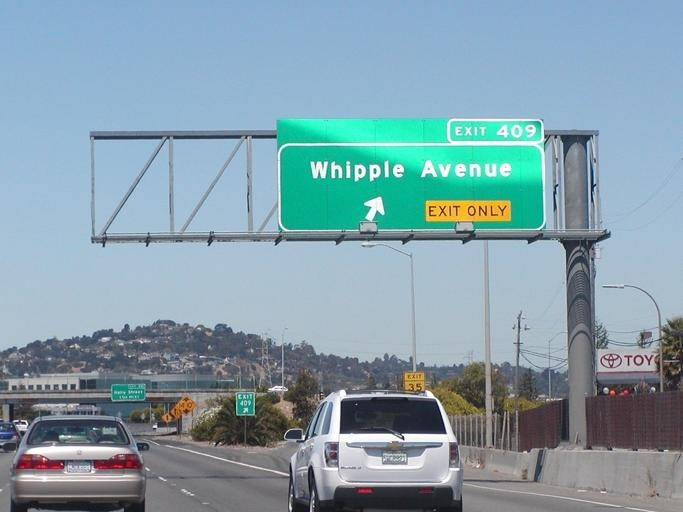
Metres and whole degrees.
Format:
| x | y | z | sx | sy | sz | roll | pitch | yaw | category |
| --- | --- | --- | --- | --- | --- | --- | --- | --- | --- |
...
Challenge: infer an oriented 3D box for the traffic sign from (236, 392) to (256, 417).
| x | y | z | sx | sy | sz | roll | pitch | yaw | category |
| --- | --- | --- | --- | --- | --- | --- | --- | --- | --- |
| -5.535 | 8.479 | 95.914 | 1.160 | 1.731 | 0.106 | -1 | 10 | 3 | traffic sign |
